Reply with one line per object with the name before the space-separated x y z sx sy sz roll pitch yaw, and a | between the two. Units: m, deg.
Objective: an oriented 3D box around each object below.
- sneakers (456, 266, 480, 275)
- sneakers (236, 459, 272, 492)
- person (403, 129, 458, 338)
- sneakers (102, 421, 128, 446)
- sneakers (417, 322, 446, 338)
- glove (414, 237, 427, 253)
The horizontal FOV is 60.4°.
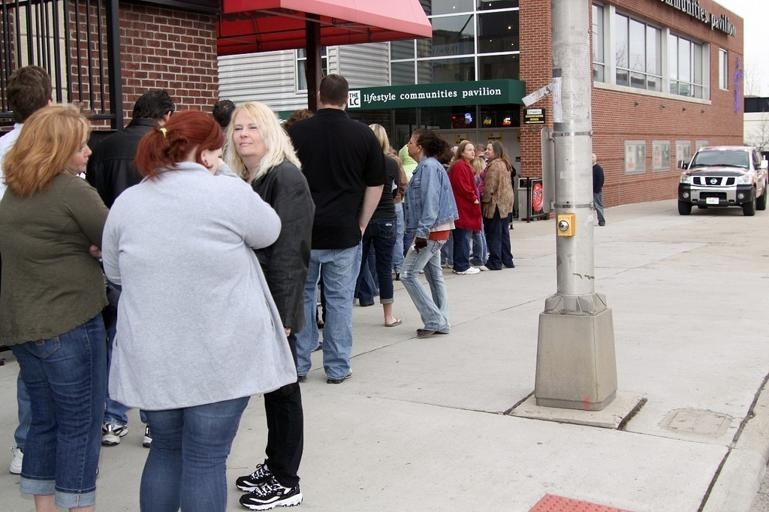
sneakers | 1.623 0.280 12.372 0.632 0.106 0.277 -9 12 -42
sneakers | -0.872 1.509 4.489 0.354 0.170 0.134 -2 10 9
person | 0.555 -0.326 8.236 0.645 2.502 1.221 0 8 6
sneakers | -2.128 1.413 5.196 0.088 0.118 0.253 2 7 4
sneakers | 0.572 0.910 7.942 0.269 0.137 0.159 -1 -3 -2
glove | 0.427 -0.137 7.990 0.137 0.143 0.128 -2 4 38
